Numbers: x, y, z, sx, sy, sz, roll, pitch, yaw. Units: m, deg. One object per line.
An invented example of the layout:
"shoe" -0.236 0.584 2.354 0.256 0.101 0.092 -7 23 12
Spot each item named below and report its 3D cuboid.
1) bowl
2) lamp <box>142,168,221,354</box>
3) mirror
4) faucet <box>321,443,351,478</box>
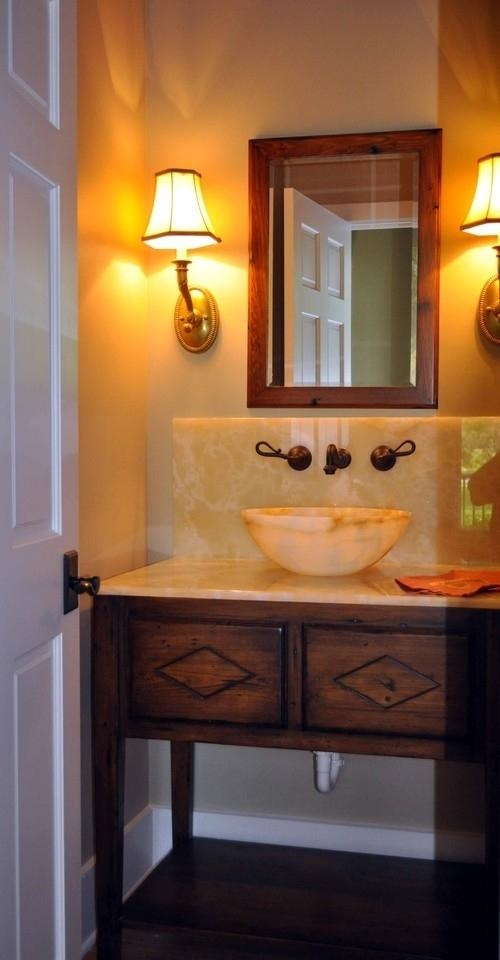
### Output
"bowl" 0.153 0.138 1.636 0.352 0.132 0.163 0 1 12
"lamp" -0.177 -0.575 2.040 0.195 0.463 0.246 0 0 -3
"mirror" 0.265 -0.559 1.998 0.584 1.000 0.039 1 2 16
"faucet" 0.222 -0.057 1.994 0.044 0.066 0.096 -8 27 21
